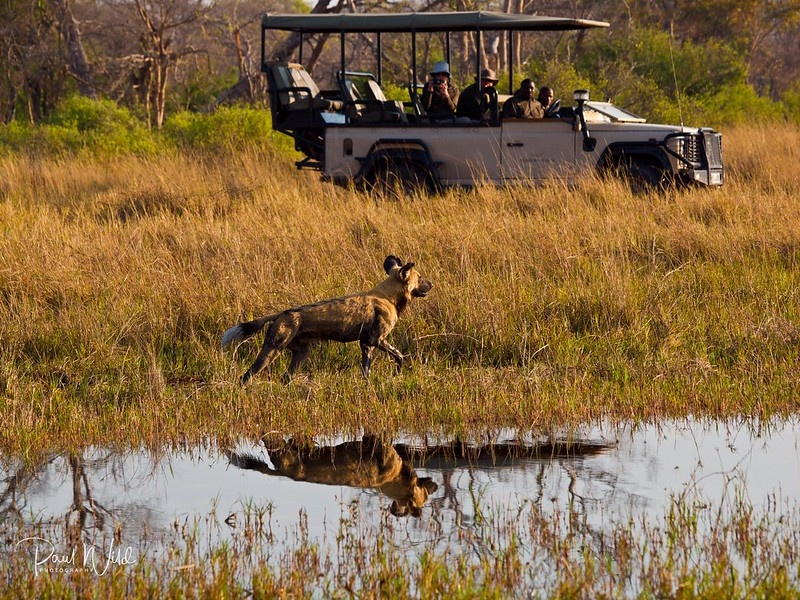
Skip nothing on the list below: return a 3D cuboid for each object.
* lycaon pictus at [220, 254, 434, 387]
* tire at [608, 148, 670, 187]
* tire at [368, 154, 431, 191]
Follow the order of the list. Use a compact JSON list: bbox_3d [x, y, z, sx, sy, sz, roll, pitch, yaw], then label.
[{"bbox_3d":[-0.815,0.299,15.047,1.754,1.426,0.499,-11,21,-17],"label":"lycaon pictus"},{"bbox_3d":[3.526,-1.960,19.935,0.965,0.591,0.428,3,13,13],"label":"tire"},{"bbox_3d":[0.015,-1.901,20.423,0.610,0.333,0.588,1,16,3],"label":"tire"}]
